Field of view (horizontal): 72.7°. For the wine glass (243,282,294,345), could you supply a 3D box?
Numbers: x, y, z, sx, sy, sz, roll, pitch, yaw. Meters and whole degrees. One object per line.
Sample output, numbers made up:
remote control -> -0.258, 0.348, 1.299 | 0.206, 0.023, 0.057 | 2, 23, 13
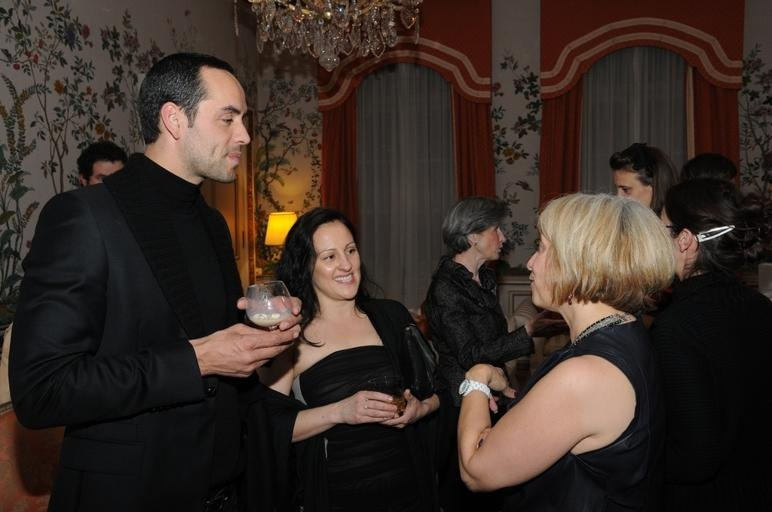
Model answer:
wine glass -> -0.409, 0.198, 1.944 | 0.148, 0.265, 0.164 | -4, 7, 6

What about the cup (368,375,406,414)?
cup -> 0.013, 0.589, 2.226 | 0.164, 0.174, 0.107 | 0, 2, -5

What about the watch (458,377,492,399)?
watch -> 0.336, 0.496, 1.964 | 0.099, 0.067, 0.103 | 9, -15, 2

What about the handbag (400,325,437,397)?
handbag -> 0.151, 0.510, 2.512 | 0.099, 0.255, 0.200 | -14, 32, 6
